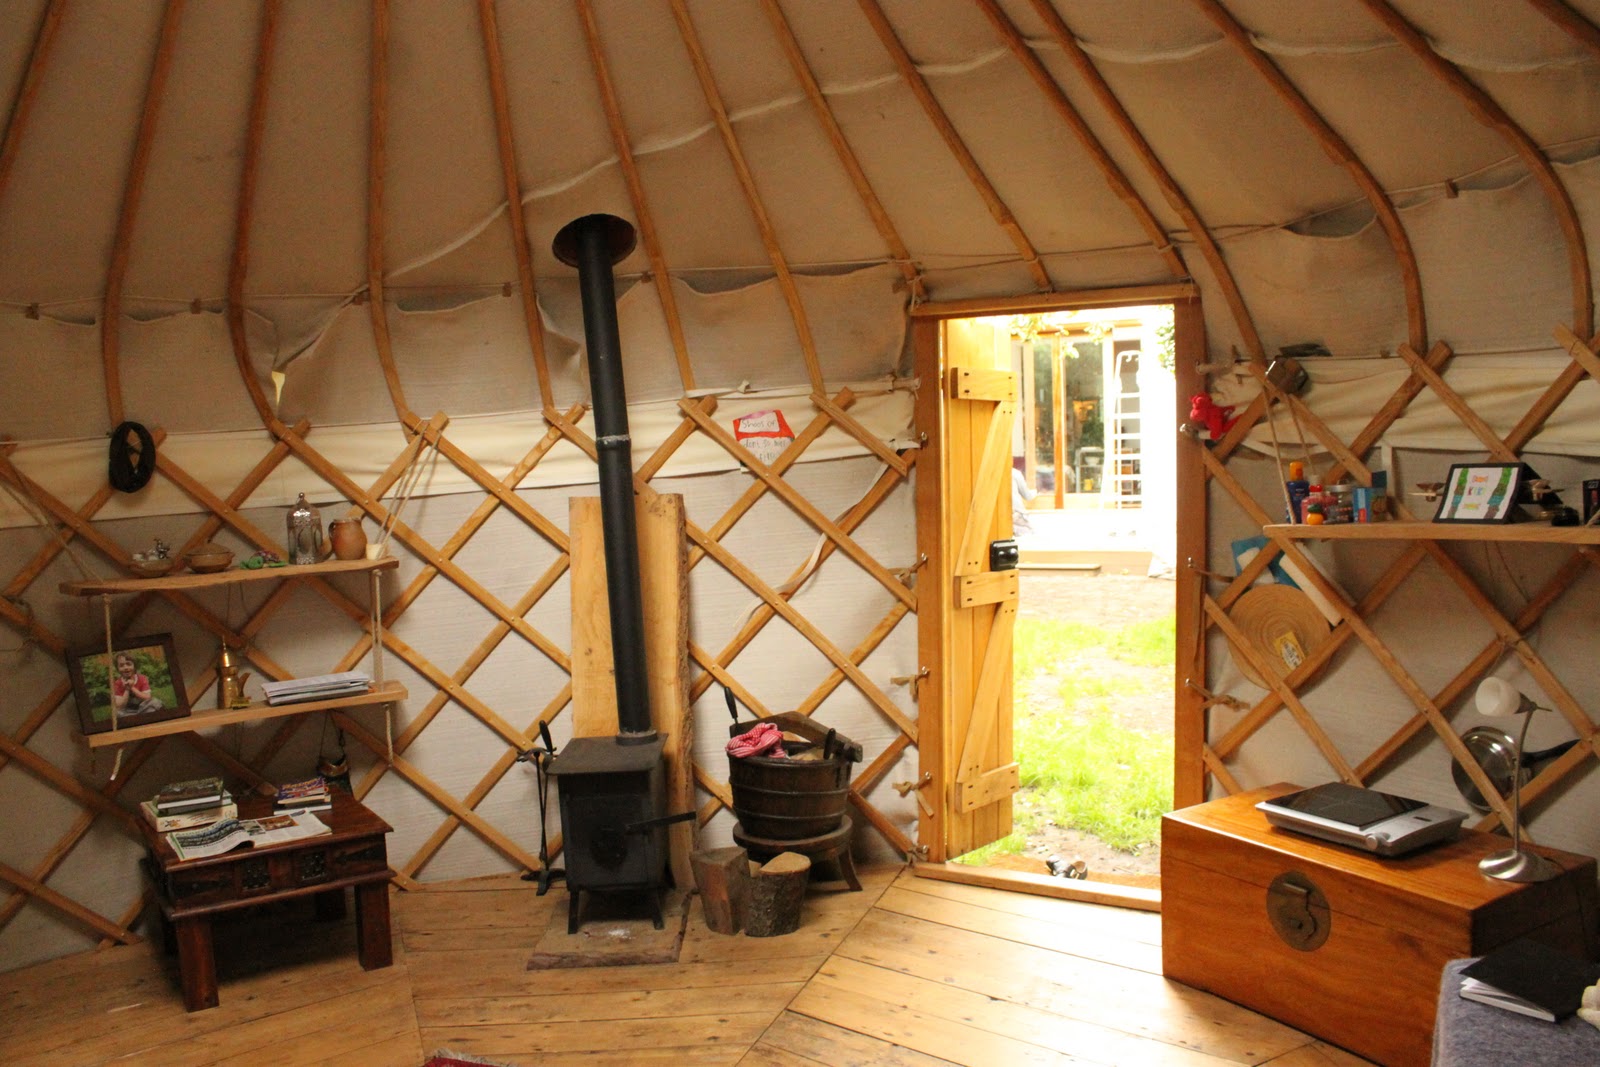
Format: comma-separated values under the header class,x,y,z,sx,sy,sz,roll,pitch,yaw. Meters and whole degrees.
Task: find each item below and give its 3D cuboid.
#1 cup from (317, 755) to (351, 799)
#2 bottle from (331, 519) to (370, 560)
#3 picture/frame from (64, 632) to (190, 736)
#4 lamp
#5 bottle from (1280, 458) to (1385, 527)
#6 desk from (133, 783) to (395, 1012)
class,x,y,z,sx,sy,sz,roll,pitch,yaw
cup,-1.898,0.979,5.177,0.124,0.164,0.171,-2,-2,-17
bottle,-1.778,0.026,5.101,0.163,0.167,0.153,-1,-5,-8
picture/frame,-2.603,0.586,4.871,0.428,0.384,0.031,-10,-15,-31
lamp,2.321,0.739,4.168,0.199,0.674,0.633,4,13,29
bottle,1.888,-0.148,4.543,0.304,0.283,0.178,0,0,34
desk,-2.132,1.418,4.921,1.078,0.485,1.039,-5,-2,24
